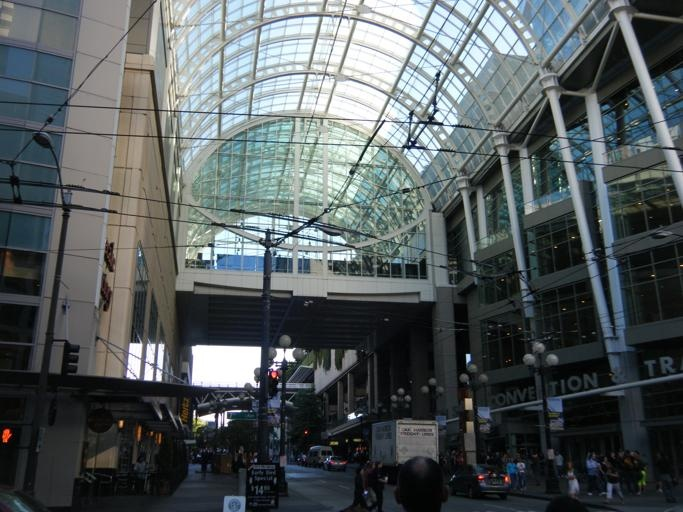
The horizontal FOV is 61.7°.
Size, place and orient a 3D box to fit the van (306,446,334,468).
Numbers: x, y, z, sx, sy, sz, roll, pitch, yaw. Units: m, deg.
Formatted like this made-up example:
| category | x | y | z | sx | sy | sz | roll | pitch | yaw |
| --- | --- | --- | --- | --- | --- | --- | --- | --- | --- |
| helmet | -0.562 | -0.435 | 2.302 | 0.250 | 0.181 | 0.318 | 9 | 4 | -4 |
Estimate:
| category | x | y | z | sx | sy | sz | roll | pitch | yaw |
| --- | --- | --- | --- | --- | --- | --- | --- | --- | --- |
| van | -2.249 | 23.032 | 65.534 | 2.238 | 2.276 | 4.358 | 6 | -19 | -18 |

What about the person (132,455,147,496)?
| category | x | y | z | sx | sy | sz | roll | pitch | yaw |
| --- | --- | --- | --- | --- | --- | --- | --- | --- | --- |
| person | -10.369 | 11.316 | 29.367 | 0.684 | 1.527 | 2.443 | 6 | -20 | -18 |
